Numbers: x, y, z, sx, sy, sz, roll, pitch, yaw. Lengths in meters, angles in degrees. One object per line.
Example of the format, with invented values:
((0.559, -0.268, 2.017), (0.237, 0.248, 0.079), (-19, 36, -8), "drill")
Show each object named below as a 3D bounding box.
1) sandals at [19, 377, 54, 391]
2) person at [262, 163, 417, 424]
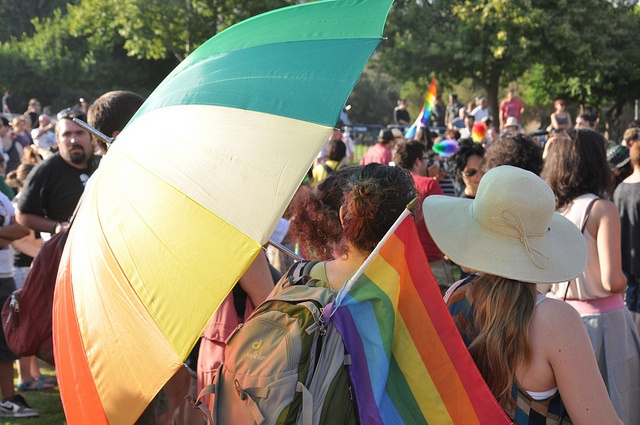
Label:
((-3.137, 1.935, 10.780), (0.349, 0.181, 0.134), (-1, -2, -4), "sandals")
((0.236, 0.249, 8.273), (1.179, 0.691, 0.819), (-25, -9, 25), "person")
